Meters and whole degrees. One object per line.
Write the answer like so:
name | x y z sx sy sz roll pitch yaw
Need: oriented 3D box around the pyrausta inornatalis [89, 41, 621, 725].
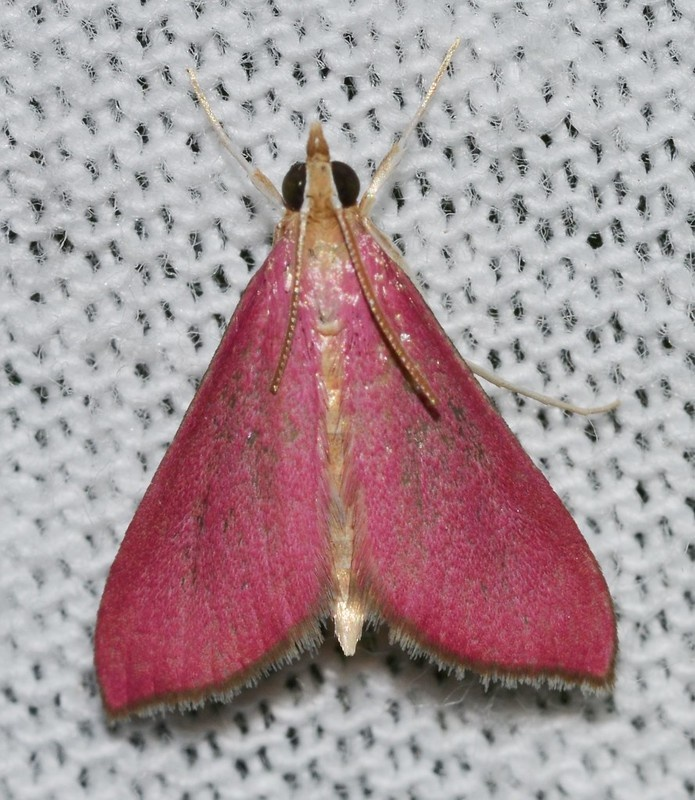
pyrausta inornatalis | -0.002 0.048 1.197 0.467 0.168 0.609 -4 85 4
